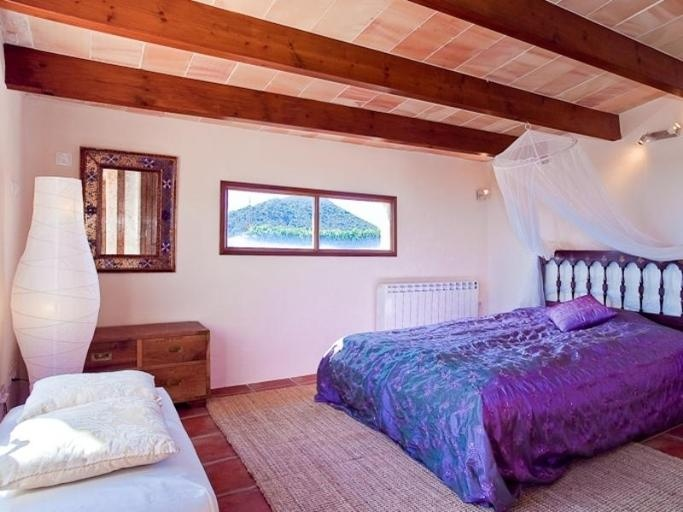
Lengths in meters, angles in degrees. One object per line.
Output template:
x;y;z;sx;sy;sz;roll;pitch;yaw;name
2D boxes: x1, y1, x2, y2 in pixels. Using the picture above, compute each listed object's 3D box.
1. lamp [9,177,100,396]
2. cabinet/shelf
-2.169;0.156;3.510;0.500;1.489;0.254;-1;5;-27;lamp
-1.810;1.004;4.273;1.120;0.687;0.646;-2;4;-13;cabinet/shelf
